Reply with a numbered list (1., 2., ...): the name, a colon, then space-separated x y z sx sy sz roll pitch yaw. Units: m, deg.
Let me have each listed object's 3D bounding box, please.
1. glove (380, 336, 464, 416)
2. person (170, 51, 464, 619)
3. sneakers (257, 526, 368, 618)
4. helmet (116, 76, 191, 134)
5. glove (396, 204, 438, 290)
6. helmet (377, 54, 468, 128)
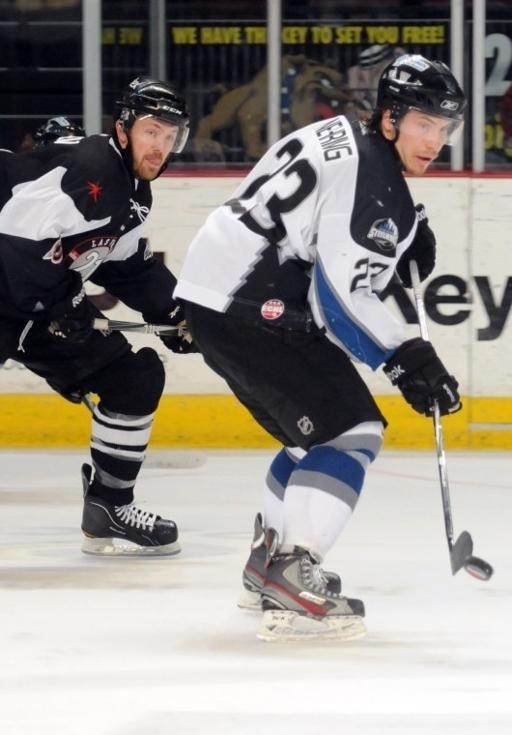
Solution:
1. glove: 0.347 0.040 1.734 0.134 0.178 0.075 -30 22 49
2. person: 0.151 -0.068 1.809 0.464 1.208 0.505 -2 12 -41
3. sneakers: 0.102 0.414 1.669 0.210 0.166 0.117 7 9 17
4. helmet: -0.262 -0.670 2.275 0.155 0.144 0.171 14 -18 -34
5. glove: 0.410 -0.301 2.192 0.090 0.190 0.157 -2 2 7
6. helmet: 0.330 -0.545 1.796 0.149 0.150 0.181 3 3 -44
